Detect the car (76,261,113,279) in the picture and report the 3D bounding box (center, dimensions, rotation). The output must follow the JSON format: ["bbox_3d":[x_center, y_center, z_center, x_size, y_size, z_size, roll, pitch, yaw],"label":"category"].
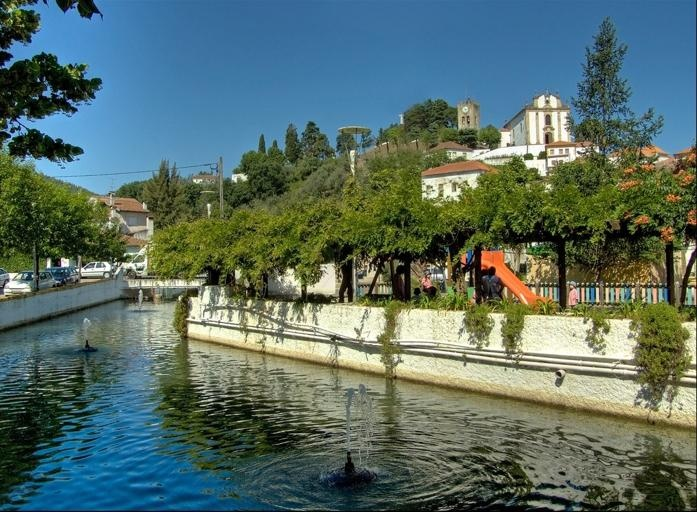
[{"bbox_3d":[-27.306,1.511,63.625,3.549,1.626,2.279,0,3,13],"label":"car"}]

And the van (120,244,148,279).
[{"bbox_3d":[-24.574,0.860,67.484,2.281,2.985,7.496,-2,4,-23],"label":"van"}]
